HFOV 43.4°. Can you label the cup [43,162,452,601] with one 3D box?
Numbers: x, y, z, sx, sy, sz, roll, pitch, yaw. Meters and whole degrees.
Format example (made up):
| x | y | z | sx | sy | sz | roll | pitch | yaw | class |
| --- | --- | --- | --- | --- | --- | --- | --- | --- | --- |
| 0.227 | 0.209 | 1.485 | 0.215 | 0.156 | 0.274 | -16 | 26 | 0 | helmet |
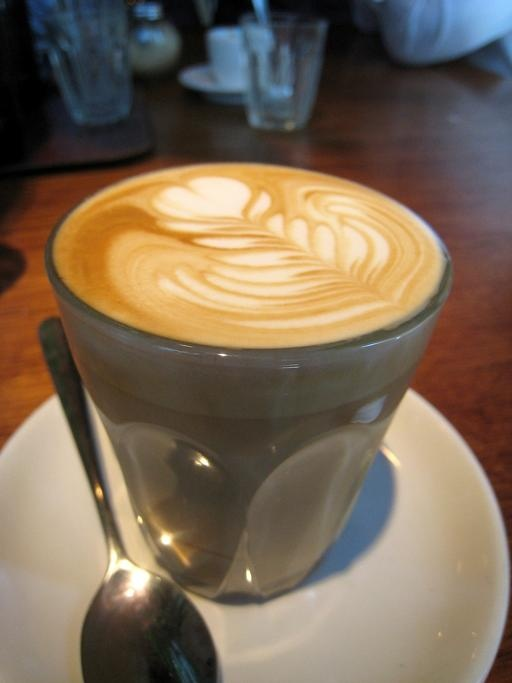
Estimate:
| x | y | z | sx | sy | sz | roll | pitch | yaw | class |
| --- | --- | --- | --- | --- | --- | --- | --- | --- | --- |
| -0.009 | 0.018 | 0.688 | 0.423 | 0.404 | 0.379 | -4 | 42 | -9 | cup |
